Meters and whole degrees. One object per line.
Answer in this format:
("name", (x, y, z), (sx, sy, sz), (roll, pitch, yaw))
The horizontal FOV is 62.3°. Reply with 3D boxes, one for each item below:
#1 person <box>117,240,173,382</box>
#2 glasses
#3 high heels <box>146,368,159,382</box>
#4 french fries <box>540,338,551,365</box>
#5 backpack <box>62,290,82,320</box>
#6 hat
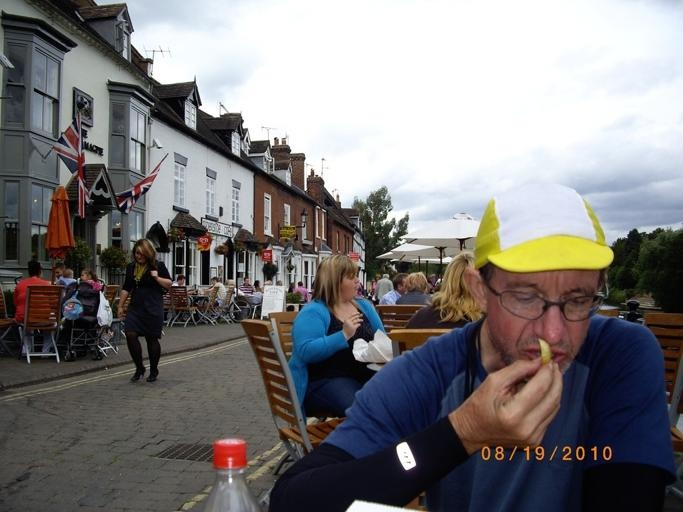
("person", (-3.035, 0.854, 8.701), (0.687, 2.148, 0.805), (2, -2, -22))
("glasses", (0.600, 0.139, 1.723), (0.308, 0.118, 0.078), (2, -2, 5))
("high heels", (-2.898, 1.871, 8.755), (0.094, 0.188, 0.265), (-5, -18, 9))
("french fries", (0.598, 0.280, 1.653), (0.034, 0.063, 0.078), (1, -2, 20))
("backpack", (-4.928, 0.956, 10.320), (0.342, 0.557, 0.313), (-13, -6, -16))
("hat", (0.605, 0.013, 1.793), (0.362, 0.288, 0.526), (-2, -9, 0))
